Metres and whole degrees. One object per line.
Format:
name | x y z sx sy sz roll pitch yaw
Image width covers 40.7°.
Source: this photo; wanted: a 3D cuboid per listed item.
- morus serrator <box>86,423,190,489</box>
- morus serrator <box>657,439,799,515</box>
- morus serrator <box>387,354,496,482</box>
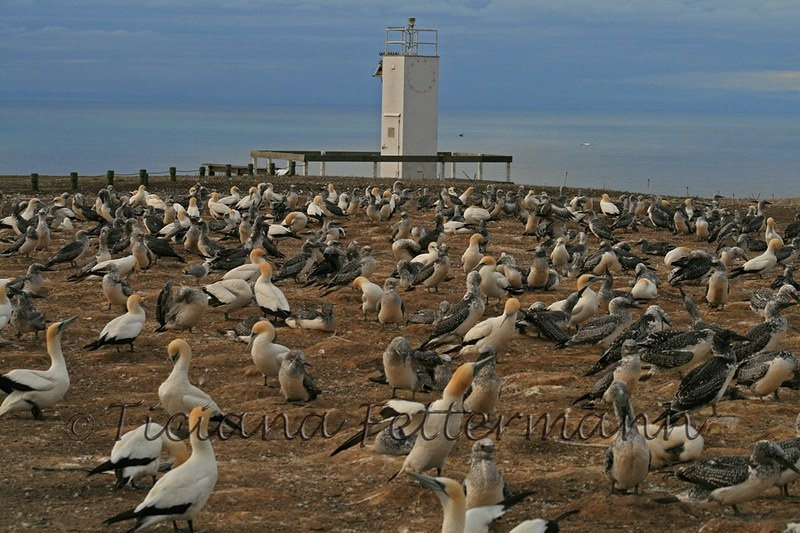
morus serrator | -4.050 2.963 16.673 1.048 0.961 2.109 3 1 0
morus serrator | 4.804 3.066 15.708 1.783 1.064 0.330 0 2 5
morus serrator | 0.508 2.436 16.810 1.861 1.763 1.588 -3 -14 2
